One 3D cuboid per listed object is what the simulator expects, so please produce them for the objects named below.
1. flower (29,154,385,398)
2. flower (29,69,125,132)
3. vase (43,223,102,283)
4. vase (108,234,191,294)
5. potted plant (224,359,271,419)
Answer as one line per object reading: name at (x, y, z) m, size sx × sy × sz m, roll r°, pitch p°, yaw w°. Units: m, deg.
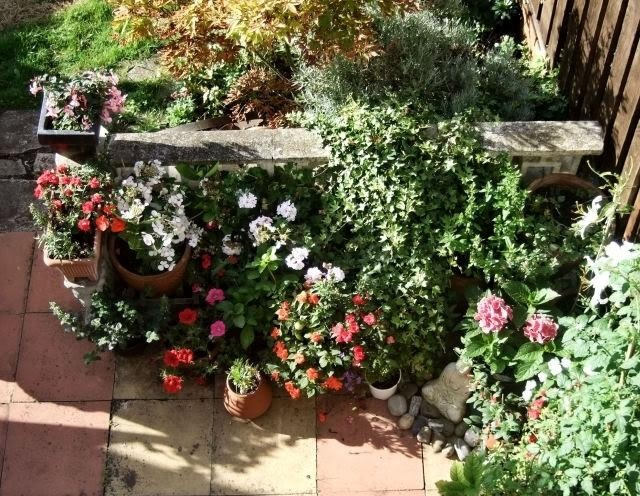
flower at (-0.670, 0.207, 4.040) m, size 2.275 × 0.799 × 1.576 m, roll 0°, pitch 73°, yaw -3°
flower at (-1.626, -1.001, 3.886) m, size 0.564 × 0.321 × 0.490 m, roll 0°, pitch 78°, yaw -10°
vase at (-1.674, 0.041, 3.881) m, size 0.350 × 0.285 × 0.378 m, roll -1°, pitch 66°, yaw -5°
vase at (-1.231, 0.170, 4.280) m, size 0.475 × 0.340 × 0.457 m, roll 32°, pitch 60°, yaw 15°
potted plant at (-0.542, 0.921, 3.945) m, size 0.310 × 0.323 × 0.341 m, roll 20°, pitch 21°, yaw 38°
